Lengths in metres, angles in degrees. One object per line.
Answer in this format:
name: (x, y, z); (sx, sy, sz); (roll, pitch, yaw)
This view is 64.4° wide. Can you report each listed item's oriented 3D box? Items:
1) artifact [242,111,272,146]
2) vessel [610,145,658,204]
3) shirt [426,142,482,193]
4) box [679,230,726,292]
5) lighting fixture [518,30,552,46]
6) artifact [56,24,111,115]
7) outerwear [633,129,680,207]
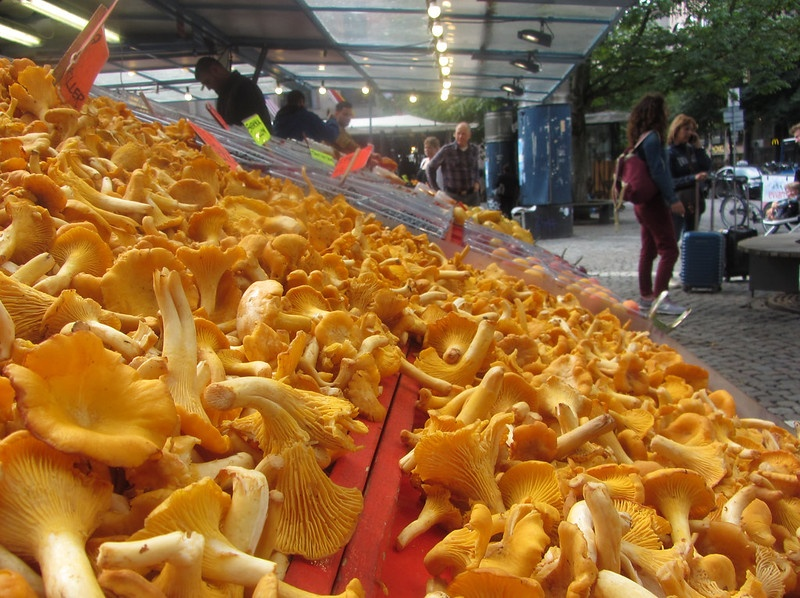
artifact: (-1.078, -1.252, 4.821); (0.058, 0.240, 0.239); (-5, 34, 38)
vessel: (2.468, -1.249, 6.726); (0.305, 0.665, 0.587); (-1, 0, 4)
shirt: (0.950, -1.923, 9.484); (0.746, 0.769, 0.339); (-8, 24, 0)
box: (4.003, -0.356, 8.368); (0.490, 0.902, 0.517); (5, -22, 18)
lighting fixture: (2.046, -3.862, 9.539); (0.400, 0.152, 0.310); (12, 25, 20)
artifact: (-1.584, -1.118, 3.180); (0.086, 0.354, 0.349); (10, -32, 12)
outerwear: (2.672, -1.324, 6.372); (0.225, 0.673, 0.453); (-24, 11, -11)
